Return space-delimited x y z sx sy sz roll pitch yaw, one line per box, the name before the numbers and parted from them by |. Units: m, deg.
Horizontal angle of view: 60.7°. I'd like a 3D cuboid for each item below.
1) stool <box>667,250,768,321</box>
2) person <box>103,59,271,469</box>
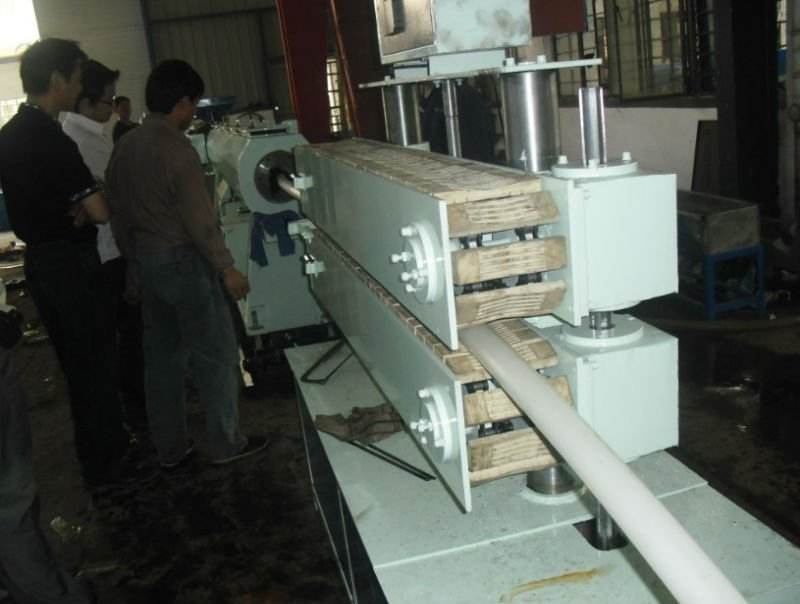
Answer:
stool | 2.157 -0.076 4.642 0.605 0.298 0.306 -17 7 25
person | -0.951 0.001 3.017 0.578 1.606 0.270 -1 18 20
